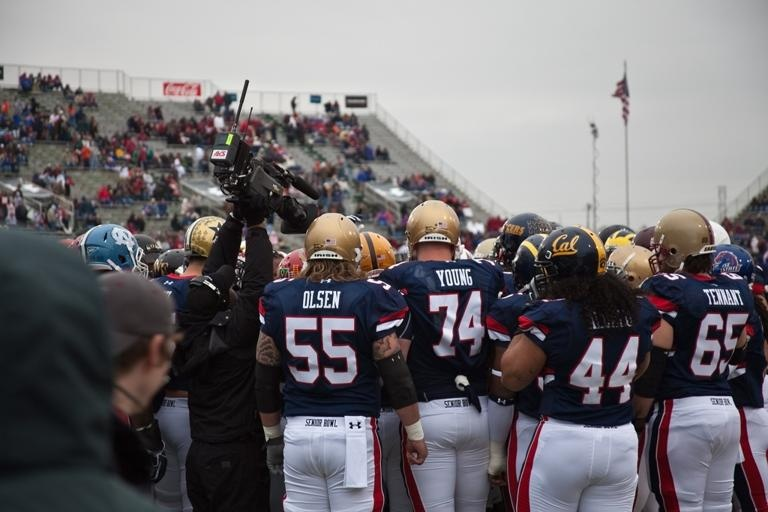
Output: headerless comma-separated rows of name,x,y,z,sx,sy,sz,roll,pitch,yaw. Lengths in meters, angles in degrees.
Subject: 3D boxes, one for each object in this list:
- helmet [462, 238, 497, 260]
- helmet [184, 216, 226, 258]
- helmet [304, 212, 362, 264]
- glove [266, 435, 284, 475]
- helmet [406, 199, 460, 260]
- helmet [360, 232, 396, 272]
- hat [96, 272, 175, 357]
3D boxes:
helmet,1.362,-0.097,16.771,0.416,0.361,0.318,1,-1,15
helmet,-2.135,-0.217,14.369,0.531,0.449,0.401,-26,10,-20
helmet,-0.583,-0.200,13.593,0.637,0.560,0.301,-1,3,-4
glove,-1.229,2.245,13.543,0.268,0.371,0.099,-2,9,15
helmet,0.576,-0.366,14.305,0.483,0.614,0.673,3,4,0
helmet,-0.110,-0.068,14.816,0.498,0.439,0.371,-22,5,-26
hat,-2.304,0.525,11.227,0.768,0.800,0.612,-2,10,-25
